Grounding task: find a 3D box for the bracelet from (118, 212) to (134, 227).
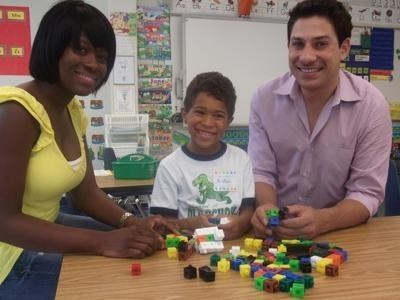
[{"bbox_3d":[-0.358,0.327,1.701,0.073,0.080,0.043,3,12,-35],"label":"bracelet"}]
